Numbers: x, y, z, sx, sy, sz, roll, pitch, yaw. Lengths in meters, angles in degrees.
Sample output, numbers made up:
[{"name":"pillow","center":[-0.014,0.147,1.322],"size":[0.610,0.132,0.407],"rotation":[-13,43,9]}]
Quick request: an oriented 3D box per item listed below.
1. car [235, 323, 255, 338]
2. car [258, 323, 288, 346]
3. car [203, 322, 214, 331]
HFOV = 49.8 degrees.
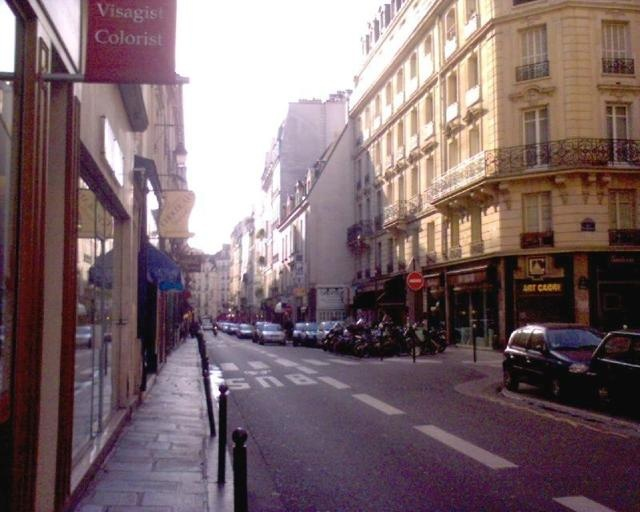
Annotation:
[{"name":"car","center":[-6.214,6.161,58.420],"size":[1.214,1.260,2.321],"rotation":[2,-11,-16]},{"name":"car","center":[-3.015,4.817,42.918],"size":[0.871,0.935,1.995],"rotation":[0,-13,-11]},{"name":"car","center":[-16.661,10.372,102.085],"size":[1.348,1.315,2.546],"rotation":[1,0,-12]}]
